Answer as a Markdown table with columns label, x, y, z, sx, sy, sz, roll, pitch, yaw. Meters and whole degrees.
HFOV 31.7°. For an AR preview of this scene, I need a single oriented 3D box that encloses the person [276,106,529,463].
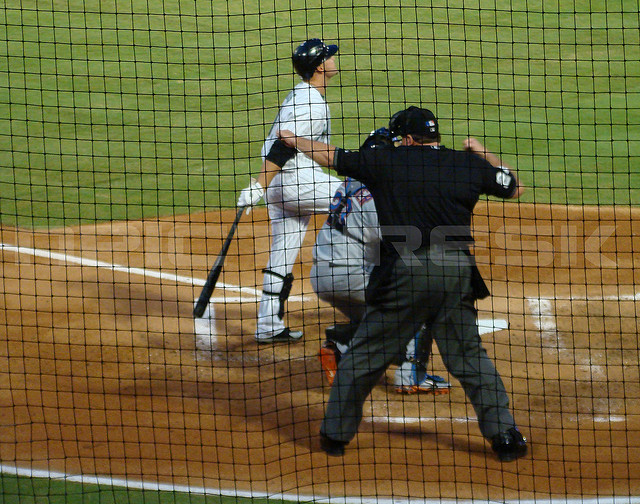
| label | x | y | z | sx | sy | sz | roll | pitch | yaw |
| --- | --- | --- | --- | --- | --- | --- | --- | --- | --- |
| person | 0.597 | 0.370 | 7.853 | 1.935 | 1.481 | 0.659 | 12 | 10 | -3 |

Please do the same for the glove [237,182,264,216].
| label | x | y | z | sx | sy | sz | roll | pitch | yaw |
| --- | --- | --- | --- | --- | --- | --- | --- | --- | --- |
| glove | -0.522 | -0.436 | 8.603 | 0.135 | 0.214 | 0.272 | 10 | 8 | -33 |
